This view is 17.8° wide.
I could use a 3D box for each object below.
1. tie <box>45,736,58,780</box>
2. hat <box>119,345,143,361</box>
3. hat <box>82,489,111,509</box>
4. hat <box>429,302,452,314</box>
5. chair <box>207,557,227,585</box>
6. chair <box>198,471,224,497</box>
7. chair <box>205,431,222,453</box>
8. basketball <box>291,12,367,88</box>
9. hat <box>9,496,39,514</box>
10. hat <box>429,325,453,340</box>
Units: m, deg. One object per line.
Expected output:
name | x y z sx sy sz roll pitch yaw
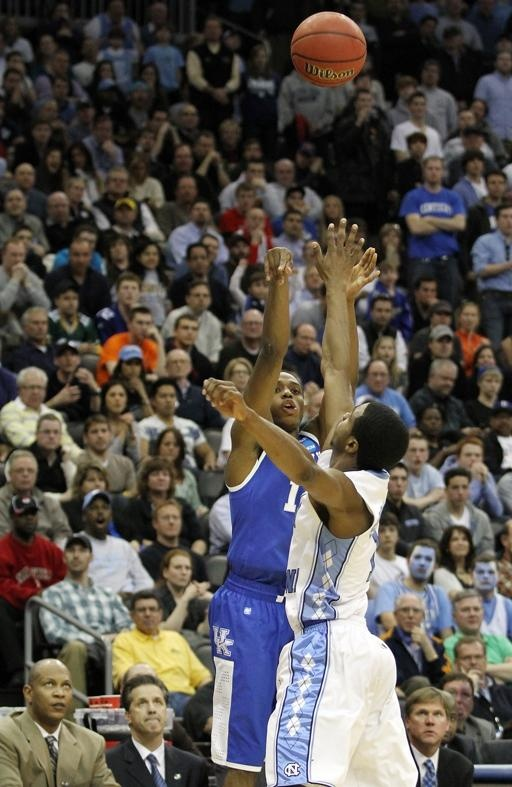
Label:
tie | -1.053 1.858 8.308 0.099 0.185 0.042 0 -3 -9
hat | -0.927 -0.277 11.938 0.150 0.119 0.253 0 -3 -9
hat | -1.040 0.700 10.514 0.179 0.135 0.193 2 2 -8
hat | 1.325 -0.610 11.636 0.180 0.088 0.044 5 3 45
chair | -0.274 1.243 11.325 0.168 0.238 0.199 1 -8 -2
chair | -0.353 0.702 12.270 0.179 0.236 0.183 1 -11 -9
chair | -0.332 0.401 12.975 0.136 0.185 0.149 0 -16 -1
basketball | 0.439 -2.084 9.789 0.470 0.508 0.470 -5 22 4
hat | -1.446 0.694 10.046 0.102 0.085 0.147 3 -4 -21
hat | 1.332 -0.432 11.761 0.087 0.112 0.242 1 2 -31
